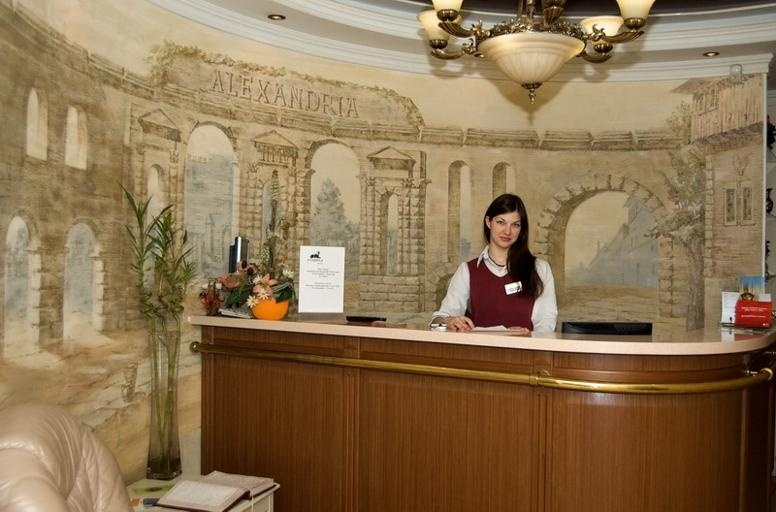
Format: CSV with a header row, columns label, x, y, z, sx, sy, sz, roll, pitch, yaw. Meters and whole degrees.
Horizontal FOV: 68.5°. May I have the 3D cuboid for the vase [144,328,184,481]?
label,x,y,z,sx,sy,sz,roll,pitch,yaw
vase,-1.822,1.174,4.659,0.280,1.223,0.369,2,-4,-21

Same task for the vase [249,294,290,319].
label,x,y,z,sx,sy,sz,roll,pitch,yaw
vase,-0.967,0.411,4.615,0.230,0.124,0.199,1,0,8

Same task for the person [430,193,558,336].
label,x,y,z,sx,sy,sz,roll,pitch,yaw
person,0.878,0.054,4.590,0.875,1.056,0.354,0,-4,21
